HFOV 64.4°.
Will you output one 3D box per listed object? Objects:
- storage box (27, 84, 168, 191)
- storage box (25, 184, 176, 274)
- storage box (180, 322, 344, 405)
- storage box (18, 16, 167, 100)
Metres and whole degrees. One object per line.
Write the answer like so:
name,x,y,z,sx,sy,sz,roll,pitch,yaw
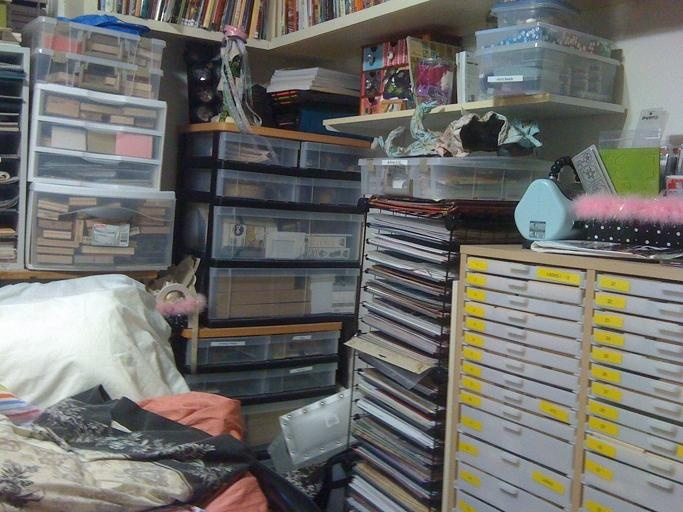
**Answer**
storage box,-1.247,-0.523,2.432,0.472,0.408,0.714,11,9,25
storage box,-1.255,-0.114,2.443,0.490,0.388,0.778,4,3,21
storage box,-0.402,0.524,2.704,0.911,0.298,0.462,-2,5,-28
storage box,-1.053,-0.835,2.434,0.613,0.198,0.368,-1,7,-38
